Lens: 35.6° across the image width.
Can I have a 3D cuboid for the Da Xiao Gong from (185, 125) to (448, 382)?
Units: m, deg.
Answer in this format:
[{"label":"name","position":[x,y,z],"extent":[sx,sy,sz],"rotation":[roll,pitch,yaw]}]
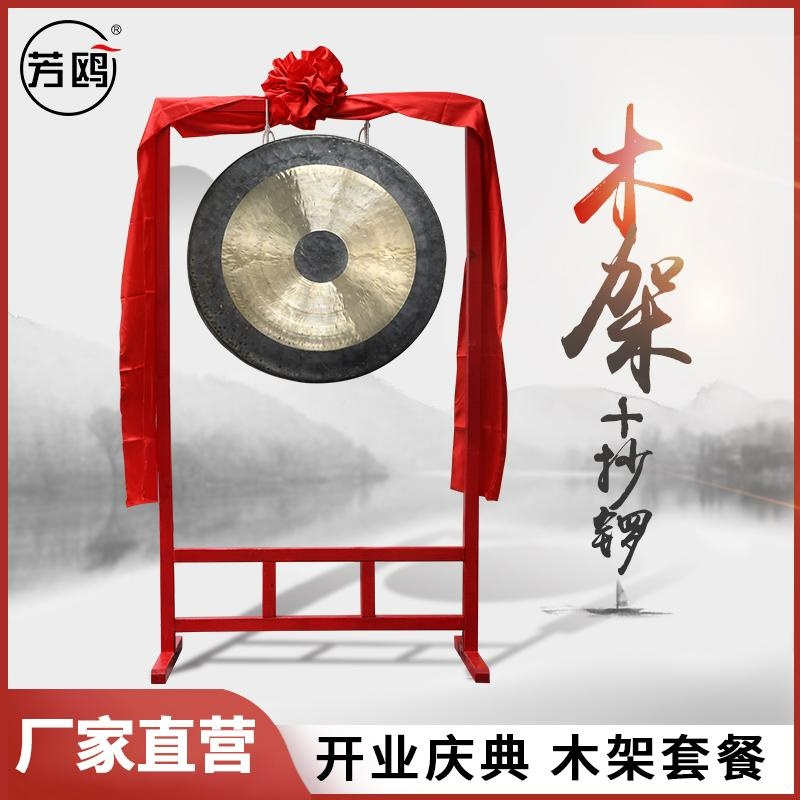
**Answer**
[{"label":"Da Xiao Gong","position":[-0.260,-0.443,3.952],"extent":[0.807,0.422,0.656],"rotation":[0,-51,-6]}]
